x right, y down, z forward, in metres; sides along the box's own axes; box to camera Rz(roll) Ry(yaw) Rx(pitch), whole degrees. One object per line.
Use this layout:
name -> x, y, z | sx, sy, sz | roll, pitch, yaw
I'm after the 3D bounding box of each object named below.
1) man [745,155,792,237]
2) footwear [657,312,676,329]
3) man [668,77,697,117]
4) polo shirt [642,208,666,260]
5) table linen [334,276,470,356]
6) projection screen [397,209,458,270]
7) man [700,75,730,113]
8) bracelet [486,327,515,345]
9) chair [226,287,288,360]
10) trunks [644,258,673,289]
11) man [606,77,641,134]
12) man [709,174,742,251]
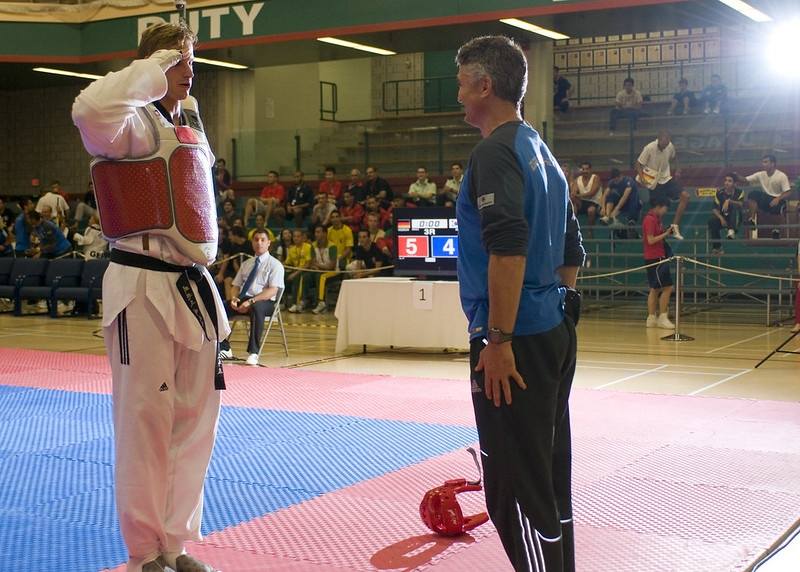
man -> 7.580, -1.907, 14.851 | 0.835, 1.556, 1.292 | 3, 10, 26
footwear -> 4.599, 0.612, 12.323 | 0.441, 0.280, 0.164 | 1, 5, -31
man -> 7.432, -4.954, 19.019 | 0.544, 1.030, 1.143 | 3, 9, 36
polo shirt -> 4.247, -0.816, 12.022 | 0.348, 0.830, 0.428 | 2, 10, 21
table linen -> 0.195, 0.399, 10.433 | 1.614, 0.786, 1.127 | 0, 0, 23
projection screen -> 0.411, -0.647, 10.024 | 1.084, 1.025, 0.110 | 0, 1, 20
man -> 8.169, -4.959, 18.772 | 0.646, 0.980, 1.472 | 4, 15, 26
bracelet -> 0.428, 0.204, 3.111 | 0.096, 0.061, 0.093 | 3, -1, -35
chair -> -2.018, 0.486, 10.229 | 0.791, 1.020, 0.832 | -2, -6, -11
trunks -> 4.354, -0.221, 12.127 | 0.374, 0.624, 0.493 | -9, 5, -12
man -> 5.907, -4.659, 18.848 | 0.831, 1.347, 0.784 | 10, -1, -44
man -> 6.734, -1.647, 14.869 | 0.607, 1.302, 1.135 | 3, 10, 26
